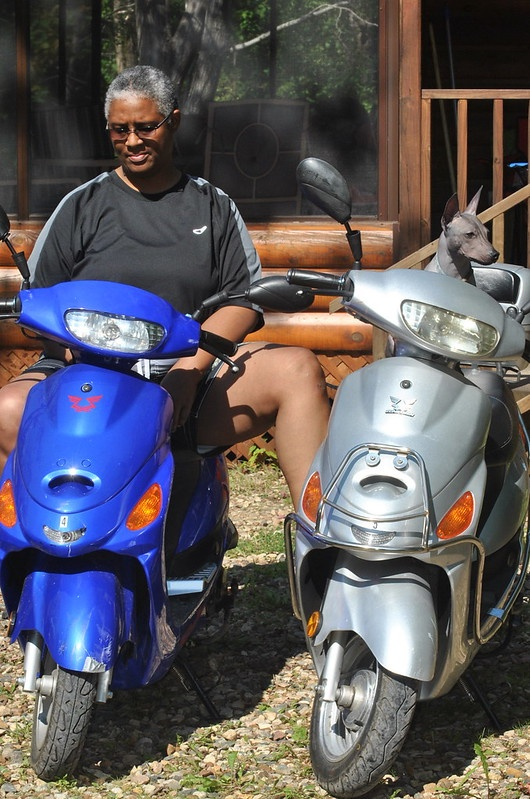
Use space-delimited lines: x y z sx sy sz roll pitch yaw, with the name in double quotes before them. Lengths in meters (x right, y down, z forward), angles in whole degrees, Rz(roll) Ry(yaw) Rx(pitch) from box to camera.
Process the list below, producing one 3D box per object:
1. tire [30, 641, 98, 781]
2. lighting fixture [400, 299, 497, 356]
"tire" -0.440 0.709 1.534 0.129 0.252 0.246 -1 0 -20
"lighting fixture" 0.389 -0.149 1.489 0.197 0.119 0.045 -1 0 -10
